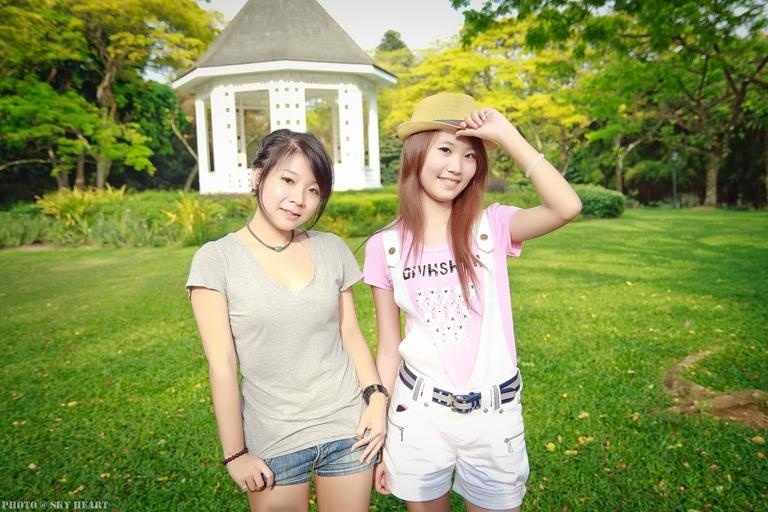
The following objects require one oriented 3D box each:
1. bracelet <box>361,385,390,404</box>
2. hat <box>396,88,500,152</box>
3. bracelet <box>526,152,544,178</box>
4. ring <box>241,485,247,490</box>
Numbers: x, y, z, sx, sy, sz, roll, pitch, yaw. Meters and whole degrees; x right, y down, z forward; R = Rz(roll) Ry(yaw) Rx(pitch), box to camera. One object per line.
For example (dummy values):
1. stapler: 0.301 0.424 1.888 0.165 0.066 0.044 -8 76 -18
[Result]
1. bracelet: -0.092 1.199 4.577 0.184 0.182 0.164 -3 0 -1
2. hat: 0.485 -1.199 4.587 0.608 0.244 0.536 -1 1 -20
3. bracelet: 1.264 -0.771 4.381 0.062 0.208 0.173 29 5 -2
4. ring: -1.155 1.902 4.241 0.039 0.038 0.040 -10 25 4
